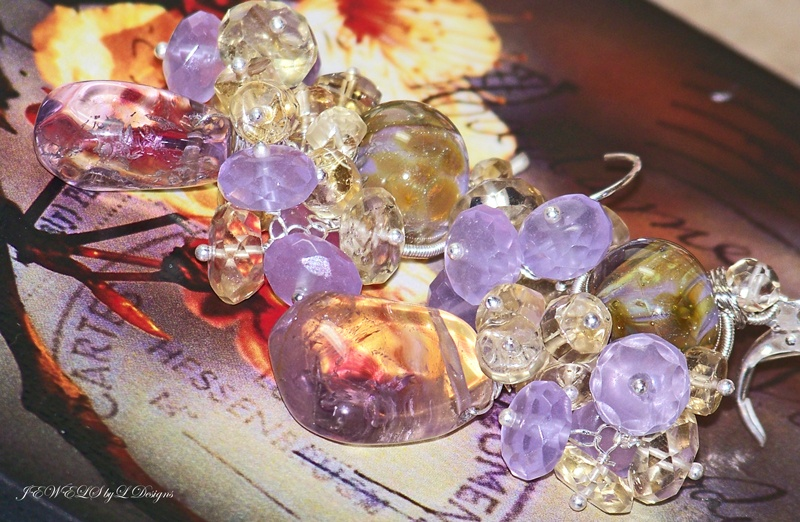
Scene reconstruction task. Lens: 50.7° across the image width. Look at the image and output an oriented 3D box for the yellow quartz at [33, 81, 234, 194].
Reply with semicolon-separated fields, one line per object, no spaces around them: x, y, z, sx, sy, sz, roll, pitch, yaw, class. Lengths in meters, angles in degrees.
-0.461;-0.205;1.525;0.312;0.140;0.173;4;74;-9;yellow quartz
